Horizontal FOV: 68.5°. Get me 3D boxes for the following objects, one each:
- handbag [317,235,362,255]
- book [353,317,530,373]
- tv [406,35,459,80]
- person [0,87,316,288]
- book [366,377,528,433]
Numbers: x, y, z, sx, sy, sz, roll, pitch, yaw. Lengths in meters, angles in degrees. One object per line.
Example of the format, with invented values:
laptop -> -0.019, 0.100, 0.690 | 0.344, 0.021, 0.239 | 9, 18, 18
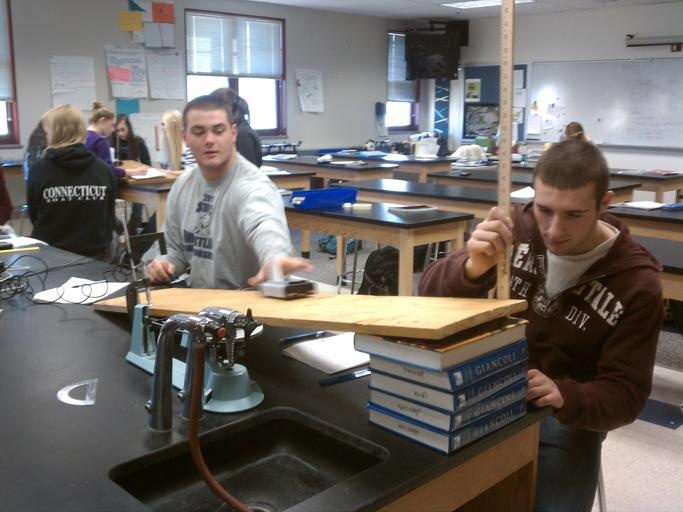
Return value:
handbag -> -0.058, -0.160, 5.827 | 0.362, 0.118, 0.255 | 7, 58, 10
book -> 0.232, 0.171, 0.992 | 0.153, 0.029, 0.158 | 5, 10, 41
tv -> 1.728, -3.790, 9.488 | 0.980, 0.854, 0.179 | -1, 15, 5
person -> -0.691, -0.211, 2.216 | 0.628, 0.831, 1.079 | -2, 8, -10
book -> 0.216, 0.296, 1.001 | 0.154, 0.032, 0.148 | -9, 12, -44
